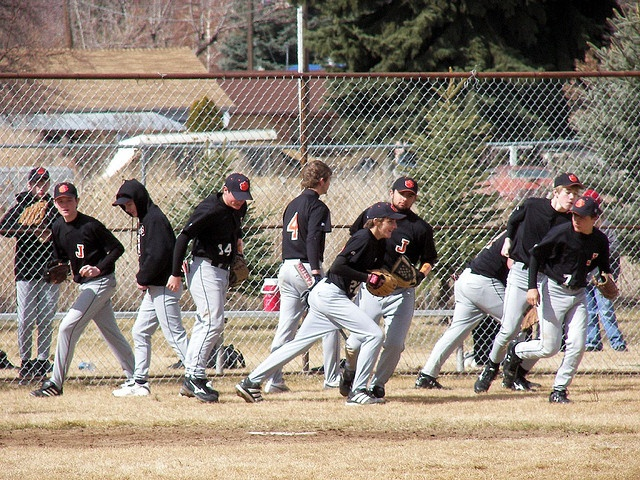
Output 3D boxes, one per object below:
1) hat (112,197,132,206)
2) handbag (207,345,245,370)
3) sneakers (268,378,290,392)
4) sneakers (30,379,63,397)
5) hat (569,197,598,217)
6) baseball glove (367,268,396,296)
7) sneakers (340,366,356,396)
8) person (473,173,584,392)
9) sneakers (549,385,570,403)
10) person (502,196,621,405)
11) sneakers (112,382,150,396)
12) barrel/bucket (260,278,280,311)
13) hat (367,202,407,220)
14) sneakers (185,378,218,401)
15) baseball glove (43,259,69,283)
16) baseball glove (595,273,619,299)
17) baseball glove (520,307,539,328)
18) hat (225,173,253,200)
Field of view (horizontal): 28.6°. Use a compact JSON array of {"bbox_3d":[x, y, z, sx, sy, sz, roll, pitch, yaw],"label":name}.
[{"bbox_3d":[-2.965,-0.575,18.752,0.323,0.114,0.201,7,2,15],"label":"hat"},{"bbox_3d":[-1.509,1.901,20.225,0.472,0.540,0.369,-5,-1,17],"label":"handbag"},{"bbox_3d":[-0.653,2.228,19.182,0.381,0.192,0.132,4,0,-32],"label":"sneakers"},{"bbox_3d":[-4.084,2.222,18.898,0.506,0.320,0.187,3,-1,-5],"label":"sneakers"},{"bbox_3d":[3.857,-0.484,18.289,0.317,0.210,0.236,4,2,-17],"label":"hat"},{"bbox_3d":[0.906,0.633,18.380,0.436,0.358,0.290,6,2,2],"label":"baseball glove"},{"bbox_3d":[0.414,2.123,18.884,0.139,0.493,0.205,0,32,-8],"label":"sneakers"},{"bbox_3d":[3.236,0.625,19.288,1.079,3.725,1.074,17,21,22],"label":"person"},{"bbox_3d":[3.527,2.291,18.538,0.366,0.331,0.146,2,-1,2],"label":"sneakers"},{"bbox_3d":[3.634,0.872,18.675,1.428,2.946,0.783,5,2,16],"label":"person"},{"bbox_3d":[-2.826,2.259,18.925,0.570,0.292,0.231,4,-10,1],"label":"sneakers"},{"bbox_3d":[-0.841,0.931,21.381,0.455,0.753,0.497,0,-6,0],"label":"barrel/bucket"},{"bbox_3d":[0.911,-0.415,18.252,0.361,0.213,0.276,0,7,1],"label":"hat"},{"bbox_3d":[-1.776,2.190,18.617,0.523,0.322,0.255,11,9,14],"label":"sneakers"},{"bbox_3d":[-3.995,0.473,19.020,0.331,0.352,0.291,0,-12,3],"label":"baseball glove"},{"bbox_3d":[4.250,0.693,18.582,0.421,0.198,0.261,55,10,24],"label":"baseball glove"},{"bbox_3d":[3.187,1.220,19.042,0.122,0.511,0.148,1,-39,36],"label":"baseball glove"},{"bbox_3d":[-1.184,-0.787,18.446,0.280,0.216,0.432,-6,45,-47],"label":"hat"}]
